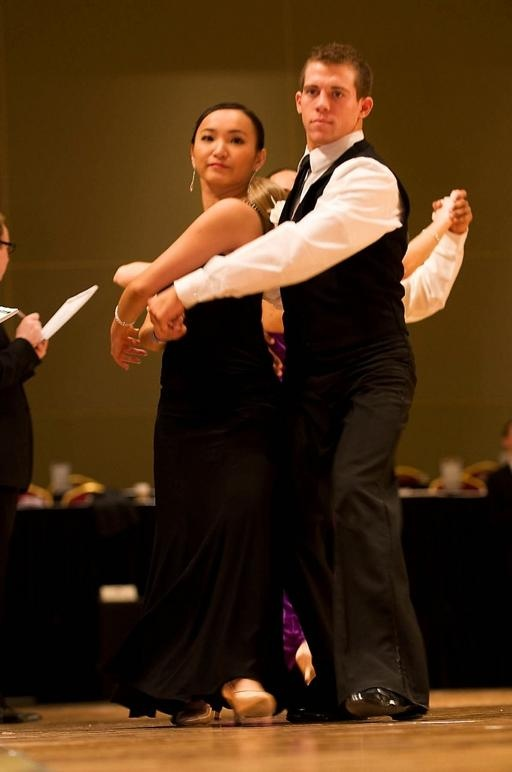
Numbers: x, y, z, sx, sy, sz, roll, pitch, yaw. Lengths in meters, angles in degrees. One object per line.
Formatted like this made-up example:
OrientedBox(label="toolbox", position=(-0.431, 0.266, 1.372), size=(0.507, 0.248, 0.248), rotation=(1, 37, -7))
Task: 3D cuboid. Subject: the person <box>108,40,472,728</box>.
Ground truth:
OrientedBox(label="person", position=(0.103, -0.015, 1.709), size=(0.527, 1.506, 0.386), rotation=(-5, -7, 32))
